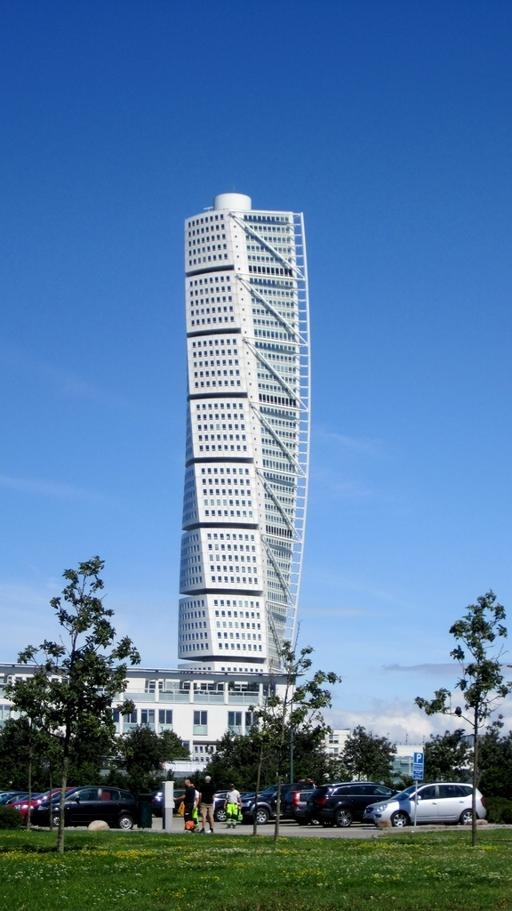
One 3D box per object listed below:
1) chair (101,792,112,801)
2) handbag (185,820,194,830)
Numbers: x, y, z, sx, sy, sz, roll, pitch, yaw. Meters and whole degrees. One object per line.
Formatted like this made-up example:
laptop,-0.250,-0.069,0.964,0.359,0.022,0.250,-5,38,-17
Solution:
chair,-5.291,12.001,54.006,0.420,0.461,0.232,2,-6,-7
handbag,-2.097,11.316,47.130,0.257,0.317,0.360,-2,3,8
